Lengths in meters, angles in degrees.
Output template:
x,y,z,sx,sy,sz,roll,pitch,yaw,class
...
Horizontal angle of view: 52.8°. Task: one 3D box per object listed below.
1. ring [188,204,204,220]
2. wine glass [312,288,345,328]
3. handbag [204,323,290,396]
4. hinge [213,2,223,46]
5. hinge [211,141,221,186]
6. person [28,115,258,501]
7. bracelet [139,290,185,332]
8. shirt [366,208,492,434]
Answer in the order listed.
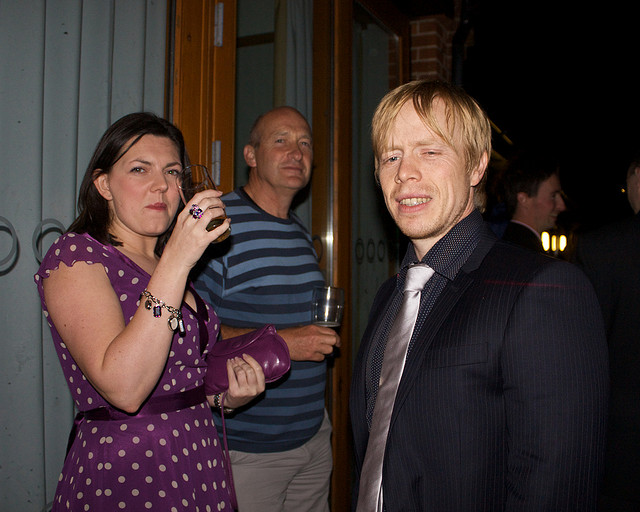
x,y,z,sx,sy,sz,roll,pitch,yaw,class
-0.409,-0.140,2.124,0.034,0.048,0.011,-6,-4,-6,ring
0.057,0.247,2.968,0.141,0.190,0.158,10,-9,15,wine glass
-0.289,0.399,2.490,0.257,0.225,0.102,-20,-21,-4,handbag
-0.504,-1.137,3.200,0.012,0.176,0.052,-2,-1,44,hinge
-0.510,-0.452,3.178,0.019,0.183,0.053,-2,-1,43,hinge
-0.610,0.193,2.284,0.694,1.070,0.506,-2,0,-8,person
-0.517,0.183,2.148,0.152,0.069,0.184,22,-1,10,bracelet
0.443,0.179,2.231,0.182,0.744,0.464,27,-24,-32,shirt
